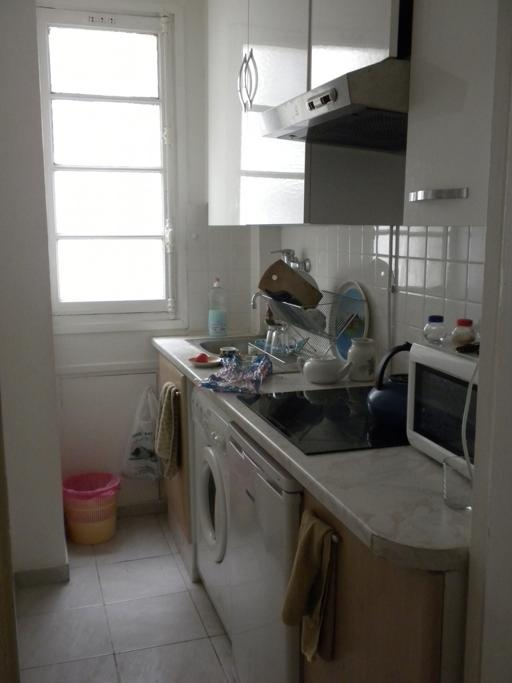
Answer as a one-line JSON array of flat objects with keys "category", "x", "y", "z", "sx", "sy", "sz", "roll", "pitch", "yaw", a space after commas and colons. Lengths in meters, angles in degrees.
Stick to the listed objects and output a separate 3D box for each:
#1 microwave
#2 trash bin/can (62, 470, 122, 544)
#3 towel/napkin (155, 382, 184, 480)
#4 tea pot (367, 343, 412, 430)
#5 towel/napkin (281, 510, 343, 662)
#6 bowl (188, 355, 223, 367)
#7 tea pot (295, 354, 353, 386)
[{"category": "microwave", "x": 0.434, "y": 0.136, "z": 1.103, "sx": 0.131, "sy": 0.265, "sz": 0.274, "roll": 1, "pitch": 6, "yaw": -11}, {"category": "trash bin/can", "x": -0.839, "y": 0.842, "z": 2.734, "sx": 0.270, "sy": 0.289, "sz": 0.330, "roll": -3, "pitch": 7, "yaw": -22}, {"category": "towel/napkin", "x": -0.382, "y": 0.393, "z": 2.384, "sx": 0.107, "sy": 0.431, "sz": 0.140, "roll": -2, "pitch": 11, "yaw": -17}, {"category": "tea pot", "x": 0.339, "y": 0.111, "z": 1.373, "sx": 0.097, "sy": 0.233, "sz": 0.162, "roll": 1, "pitch": 6, "yaw": 13}, {"category": "towel/napkin", "x": 0.100, "y": 0.470, "z": 1.069, "sx": 0.057, "sy": 0.249, "sz": 0.171, "roll": 8, "pitch": 1, "yaw": -22}, {"category": "bowl", "x": -0.205, "y": 0.074, "z": 2.204, "sx": 0.127, "sy": 0.040, "sz": 0.164, "roll": -2, "pitch": 7, "yaw": -16}, {"category": "tea pot", "x": 0.254, "y": 0.084, "z": 1.932, "sx": 0.134, "sy": 0.108, "sz": 0.151, "roll": -3, "pitch": 14, "yaw": -22}]
